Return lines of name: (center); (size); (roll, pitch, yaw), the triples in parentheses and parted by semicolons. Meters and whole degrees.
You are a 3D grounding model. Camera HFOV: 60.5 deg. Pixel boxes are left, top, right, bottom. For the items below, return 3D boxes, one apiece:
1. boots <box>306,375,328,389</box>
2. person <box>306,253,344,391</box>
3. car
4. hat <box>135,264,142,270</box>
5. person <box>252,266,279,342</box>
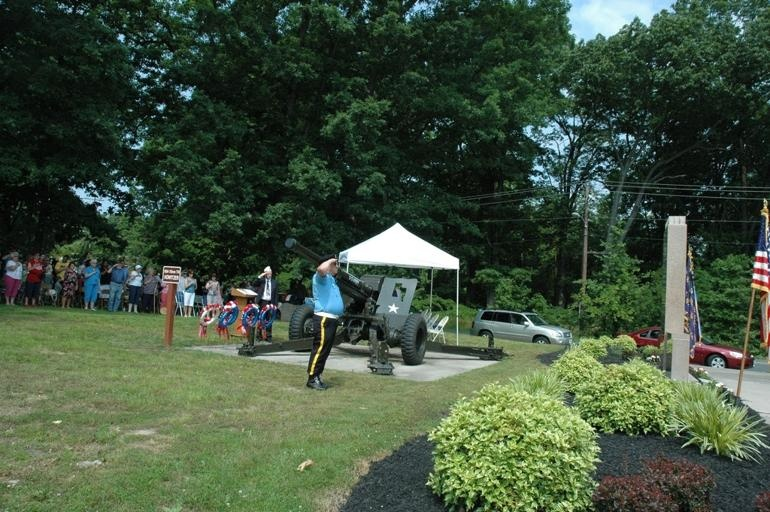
boots: (-1.518, 2.832, 14.618); (0.540, 0.369, 0.208); (0, -4, -8)
person: (-1.327, 1.502, 14.682); (0.697, 2.908, 0.687); (5, -5, -5)
car: (11.514, 3.588, 26.668); (3.087, 1.451, 6.314); (6, -6, -12)
hat: (-9.256, 0.472, 24.810); (0.220, 0.112, 0.302); (5, 1, -42)
person: (-3.458, 1.371, 19.050); (0.650, 2.171, 1.423); (5, -5, -10)
